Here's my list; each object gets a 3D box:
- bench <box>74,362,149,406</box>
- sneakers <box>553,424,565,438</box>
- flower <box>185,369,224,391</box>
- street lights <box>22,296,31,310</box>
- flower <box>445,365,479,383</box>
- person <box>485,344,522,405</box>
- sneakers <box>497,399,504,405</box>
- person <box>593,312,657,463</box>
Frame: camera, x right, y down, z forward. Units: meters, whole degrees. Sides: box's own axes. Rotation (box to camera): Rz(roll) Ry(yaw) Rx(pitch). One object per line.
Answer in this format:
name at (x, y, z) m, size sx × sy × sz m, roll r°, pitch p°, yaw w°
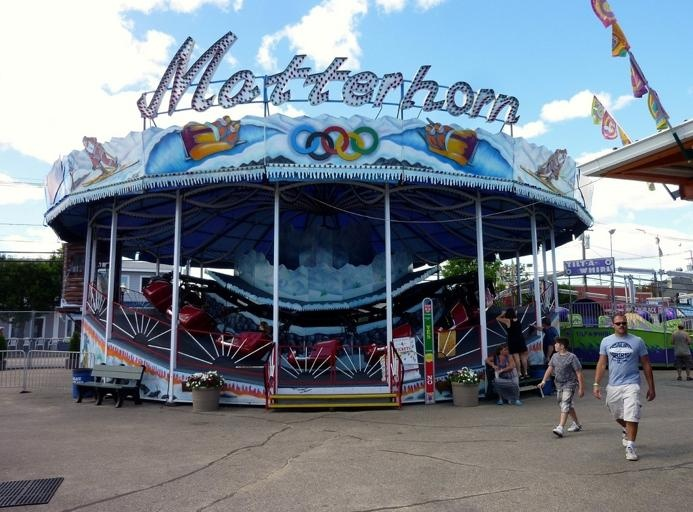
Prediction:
bench at (-7.112, 3.868, 17.255) m, size 2.268 × 1.046 × 0.938 m, roll -4°, pitch -5°, yaw 33°
sneakers at (4.240, 3.506, 11.528) m, size 0.141 × 0.198 × 0.439 m, roll 8°, pitch -27°, yaw 29°
flower at (-3.976, 3.527, 16.249) m, size 0.985 × 0.478 × 0.548 m, roll -1°, pitch -8°, yaw -14°
street lights at (-29.068, 4.246, 52.322) m, size 0.663 × 1.387 × 0.720 m, roll -10°, pitch -19°, yaw 10°
flower at (3.337, 3.454, 16.439) m, size 0.570 × 0.368 × 0.595 m, roll 3°, pitch -4°, yaw -13°
person at (4.523, 3.433, 16.695) m, size 0.806 × 1.635 × 1.169 m, roll -3°, pitch -7°, yaw 7°
sneakers at (4.365, 4.184, 16.458) m, size 0.210 × 0.090 × 0.571 m, roll -5°, pitch -8°, yaw 14°
person at (4.977, 2.315, 10.332) m, size 0.977 × 2.445 × 1.342 m, roll -3°, pitch 0°, yaw 14°
